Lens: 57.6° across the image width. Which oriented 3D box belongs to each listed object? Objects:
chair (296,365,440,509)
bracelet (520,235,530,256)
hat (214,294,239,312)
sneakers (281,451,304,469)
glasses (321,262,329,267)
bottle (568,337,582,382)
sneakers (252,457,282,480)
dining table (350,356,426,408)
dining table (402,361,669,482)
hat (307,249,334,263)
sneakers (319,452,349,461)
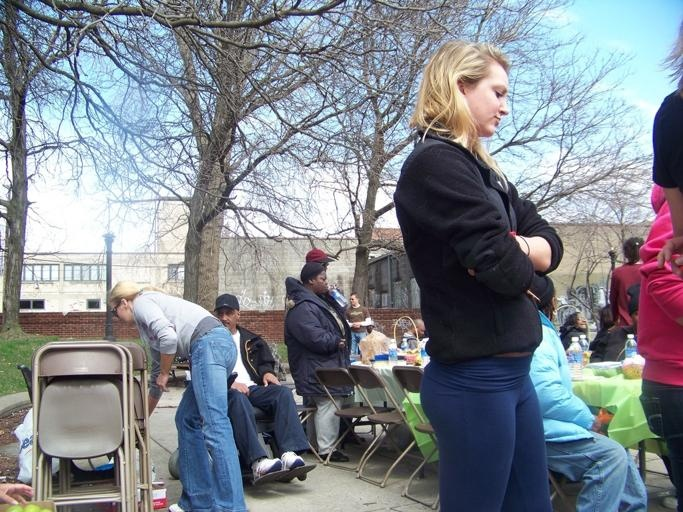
[{"bbox_3d":[0.238,1.838,6.325,0.668,1.162,1.703,-3,-4,-29],"label":"chair"},{"bbox_3d":[0.750,-0.051,2.518,0.016,0.065,0.048,-2,8,31],"label":"bracelet"},{"bbox_3d":[-1.254,0.510,6.828,0.166,0.139,0.239,0,-11,3],"label":"hat"},{"bbox_3d":[-0.480,1.971,6.029,0.215,0.161,0.198,-2,-8,-13],"label":"sneakers"},{"bbox_3d":[-0.220,0.093,7.844,0.059,0.042,0.080,-2,-8,0],"label":"glasses"},{"bbox_3d":[2.330,1.009,6.155,0.162,0.413,0.169,2,-10,0],"label":"bottle"},{"bbox_3d":[-0.737,2.016,5.914,0.310,0.161,0.131,-25,-21,29],"label":"sneakers"},{"bbox_3d":[0.518,1.421,7.046,0.743,0.562,0.753,0,-9,-8],"label":"dining table"},{"bbox_3d":[1.425,1.195,5.679,1.625,0.559,1.684,-12,6,10],"label":"dining table"},{"bbox_3d":[-0.252,-0.006,7.873,0.299,0.160,0.193,1,3,-19],"label":"hat"},{"bbox_3d":[-0.073,2.301,7.255,0.283,0.116,0.147,-2,-3,8],"label":"sneakers"}]
